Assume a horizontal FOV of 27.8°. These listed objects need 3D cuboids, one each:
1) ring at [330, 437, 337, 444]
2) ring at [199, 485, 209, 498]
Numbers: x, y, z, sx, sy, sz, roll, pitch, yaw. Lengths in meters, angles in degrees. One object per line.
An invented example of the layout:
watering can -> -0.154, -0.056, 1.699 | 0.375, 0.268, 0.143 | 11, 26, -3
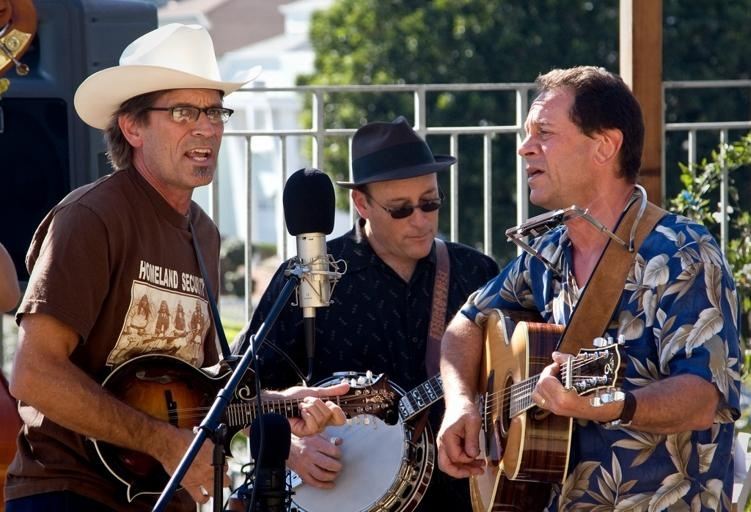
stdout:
ring -> -0.273, 1.182, 9.654 | 0.032, 0.037, 0.010 | -3, -22, 2
ring -> -1.055, 1.445, 9.276 | 0.018, 0.052, 0.075 | -29, -31, -22
